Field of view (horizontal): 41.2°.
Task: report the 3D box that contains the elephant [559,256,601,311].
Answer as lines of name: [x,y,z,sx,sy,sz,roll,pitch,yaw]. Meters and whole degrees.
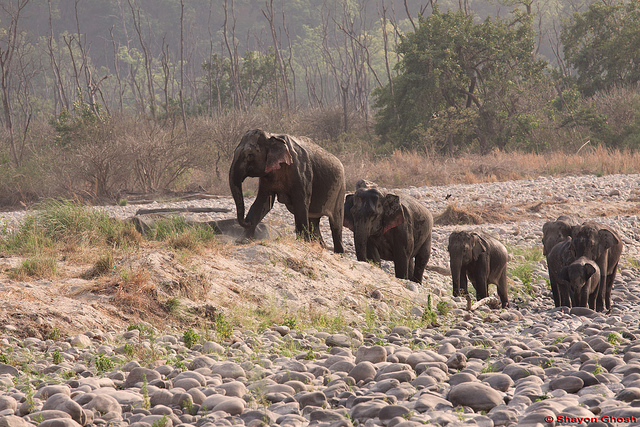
elephant: [10.070,2.683,32.579,1.639,2.115,0.678,-1,2,-24]

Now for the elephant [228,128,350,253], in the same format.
elephant: [-1.271,-0.881,35.148,5.685,5.024,3.090,9,-4,-39]

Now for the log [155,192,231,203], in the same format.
log: [-6.585,-0.835,44.871,3.741,0.432,1.762,-1,2,-7]

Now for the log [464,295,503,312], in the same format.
log: [6.414,3.410,33.129,2.216,0.656,0.447,-2,2,-40]

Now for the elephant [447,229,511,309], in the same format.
elephant: [6.345,2.246,34.275,3.484,3.022,1.636,16,-13,-42]
